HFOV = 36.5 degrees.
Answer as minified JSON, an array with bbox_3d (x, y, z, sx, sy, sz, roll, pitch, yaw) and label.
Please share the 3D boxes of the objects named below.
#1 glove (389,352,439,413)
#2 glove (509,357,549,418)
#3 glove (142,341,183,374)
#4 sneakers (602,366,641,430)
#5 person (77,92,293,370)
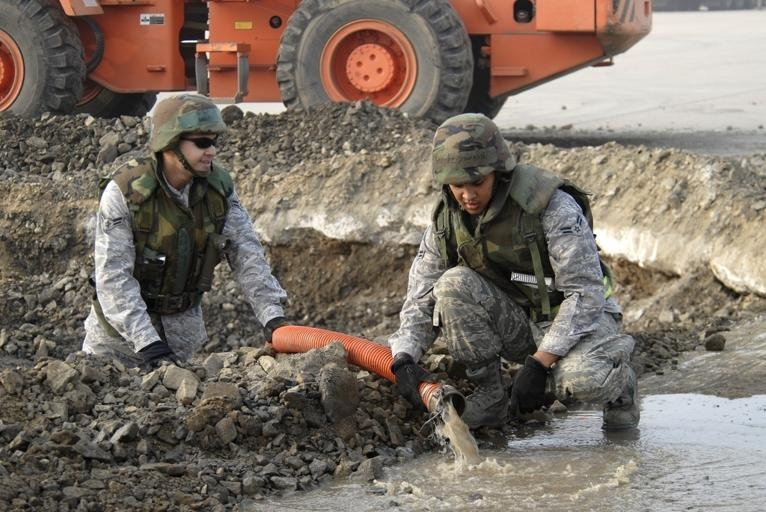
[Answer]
[{"bbox_3d":[0.235,0.938,8.512,0.214,0.432,0.287,-7,9,-38],"label":"glove"},{"bbox_3d":[1.064,0.952,8.402,0.120,0.394,0.294,35,-11,-3],"label":"glove"},{"bbox_3d":[-1.664,0.768,8.795,0.274,0.209,0.358,-4,8,-23],"label":"glove"},{"bbox_3d":[1.749,1.048,8.472,0.255,0.466,0.164,0,7,10],"label":"sneakers"},{"bbox_3d":[-1.565,-0.178,9.053,1.343,2.159,0.728,-3,7,-13],"label":"person"}]
